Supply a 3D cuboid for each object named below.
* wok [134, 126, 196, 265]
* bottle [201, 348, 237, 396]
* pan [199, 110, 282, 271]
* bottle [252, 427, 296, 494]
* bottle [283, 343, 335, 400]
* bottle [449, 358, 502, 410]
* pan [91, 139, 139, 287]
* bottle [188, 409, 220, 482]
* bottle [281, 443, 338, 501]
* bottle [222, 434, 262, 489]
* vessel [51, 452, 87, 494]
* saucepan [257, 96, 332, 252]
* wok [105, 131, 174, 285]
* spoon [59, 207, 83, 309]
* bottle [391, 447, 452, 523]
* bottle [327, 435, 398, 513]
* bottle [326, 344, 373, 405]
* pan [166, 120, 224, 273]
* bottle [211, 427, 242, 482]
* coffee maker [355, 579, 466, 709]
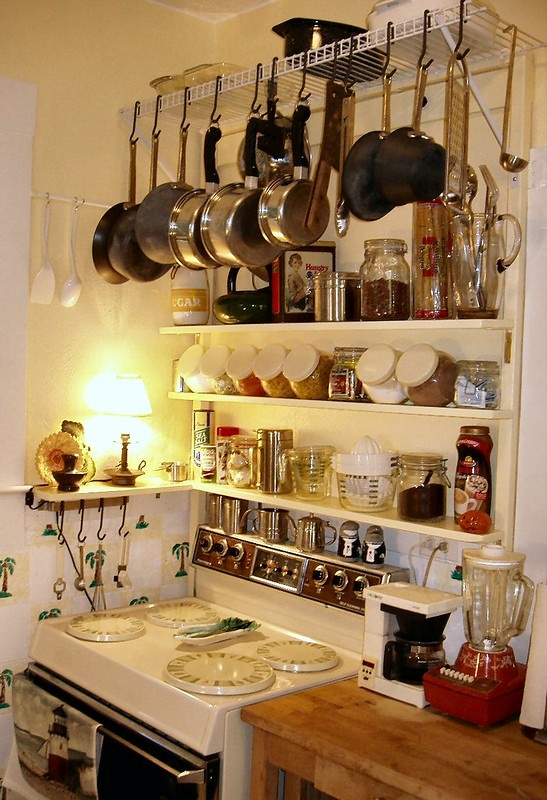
[{"bbox_3d":[-0.248,-0.434,1.468,0.061,0.193,0.124,3,10,45],"label":"wok"},{"bbox_3d":[-0.166,-0.085,2.025,0.110,0.145,0.138,-10,-26,19],"label":"bottle"},{"bbox_3d":[-0.066,-0.408,1.280,0.156,0.282,0.091,-10,19,-32],"label":"pan"},{"bbox_3d":[0.006,0.181,1.897,0.114,0.187,0.163,1,2,-14],"label":"bottle"},{"bbox_3d":[0.089,-0.070,1.751,0.141,0.139,0.132,-21,-30,36],"label":"bottle"},{"bbox_3d":[0.420,-0.033,1.370,0.098,0.092,0.097,3,-4,-29],"label":"bottle"},{"bbox_3d":[-0.425,-0.478,1.770,0.061,0.421,0.185,1,3,31],"label":"pan"},{"bbox_3d":[-0.231,0.156,2.188,0.115,0.242,0.113,-1,-7,0],"label":"bottle"},{"bbox_3d":[0.102,0.201,1.793,0.131,0.140,0.124,-3,4,-26],"label":"bottle"},{"bbox_3d":[-0.093,0.189,1.969,0.110,0.149,0.152,1,-1,6],"label":"bottle"},{"bbox_3d":[-0.554,0.207,1.812,0.104,0.108,0.101,1,-6,-3],"label":"vessel"},{"bbox_3d":[0.051,-0.413,1.199,0.134,0.267,0.064,-2,6,-30],"label":"saucepan"},{"bbox_3d":[-0.403,-0.511,1.755,0.065,0.380,0.263,4,9,27],"label":"wok"},{"bbox_3d":[-0.607,-0.421,1.946,0.063,0.302,0.049,5,4,-4],"label":"spoon"},{"bbox_3d":[0.344,0.199,1.493,0.137,0.142,0.108,2,3,24],"label":"bottle"},{"bbox_3d":[0.224,0.183,1.551,0.163,0.190,0.178,0,-4,-1],"label":"bottle"},{"bbox_3d":[0.162,-0.083,1.655,0.084,0.131,0.120,2,20,-18],"label":"bottle"},{"bbox_3d":[-0.185,-0.421,1.365,0.080,0.257,0.141,11,10,29],"label":"pan"},{"bbox_3d":[-0.148,0.188,2.108,0.092,0.186,0.086,1,-6,0],"label":"bottle"},{"bbox_3d":[0.334,0.515,1.492,0.220,0.279,0.229,-2,3,-42],"label":"coffee maker"}]
